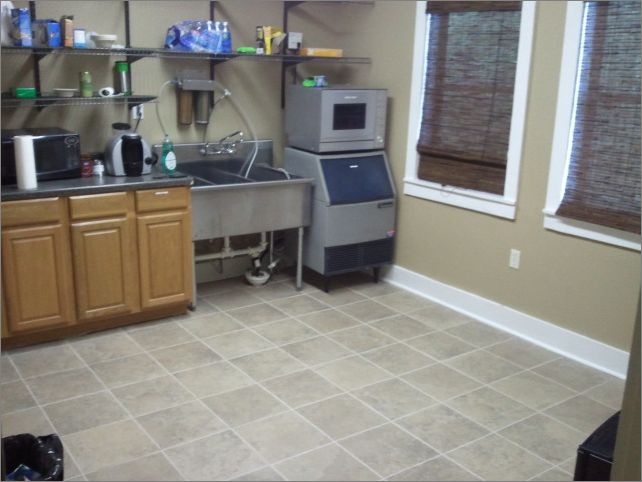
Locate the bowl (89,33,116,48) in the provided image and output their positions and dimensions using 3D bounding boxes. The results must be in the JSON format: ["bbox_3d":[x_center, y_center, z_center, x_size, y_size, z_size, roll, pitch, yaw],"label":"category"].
[{"bbox_3d":[-1.498,-1.367,3.489,0.147,0.055,0.130,-3,12,-15],"label":"bowl"}]

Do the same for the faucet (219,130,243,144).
[{"bbox_3d":[-0.772,-0.870,4.320,0.169,0.115,0.252,3,19,9],"label":"faucet"}]

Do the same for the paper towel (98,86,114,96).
[{"bbox_3d":[-1.521,-1.052,3.615,0.096,0.046,0.121,-7,16,-29],"label":"paper towel"}]

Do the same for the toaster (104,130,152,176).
[{"bbox_3d":[-1.444,-0.630,3.673,0.292,0.327,0.364,6,15,22],"label":"toaster"}]

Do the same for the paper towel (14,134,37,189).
[{"bbox_3d":[-1.831,-0.482,3.133,0.119,0.317,0.155,-7,23,-16],"label":"paper towel"}]

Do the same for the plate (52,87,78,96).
[{"bbox_3d":[-1.754,-1.022,3.505,0.146,0.054,0.160,-7,20,-20],"label":"plate"}]
